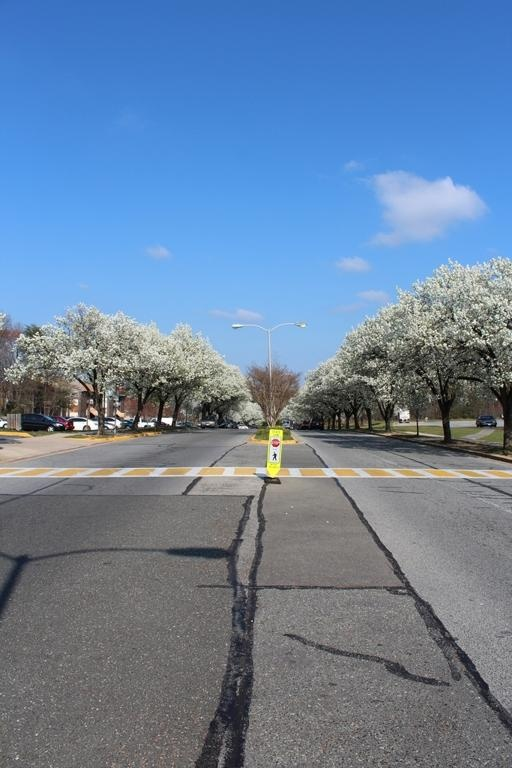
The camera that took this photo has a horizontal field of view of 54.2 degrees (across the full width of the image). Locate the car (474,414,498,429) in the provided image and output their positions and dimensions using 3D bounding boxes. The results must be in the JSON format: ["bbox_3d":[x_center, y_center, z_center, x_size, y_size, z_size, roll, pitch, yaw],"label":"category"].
[{"bbox_3d":[29.193,4.868,63.384,1.680,1.517,2.948,-4,-17,17],"label":"car"}]
